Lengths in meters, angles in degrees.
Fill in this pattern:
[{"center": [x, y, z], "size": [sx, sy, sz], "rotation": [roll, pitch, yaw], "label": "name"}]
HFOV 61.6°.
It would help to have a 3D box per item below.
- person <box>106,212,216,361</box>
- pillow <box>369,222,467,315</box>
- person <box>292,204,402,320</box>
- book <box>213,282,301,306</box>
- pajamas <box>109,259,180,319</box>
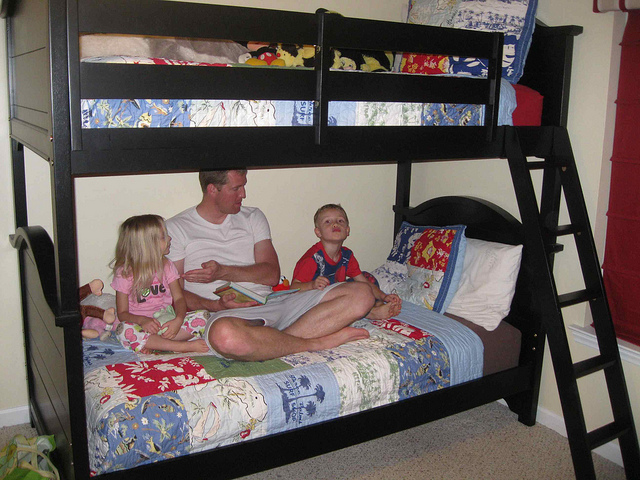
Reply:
[{"center": [-0.875, 0.235, 2.879], "size": [0.623, 0.728, 0.465], "rotation": [5, 9, 37], "label": "person"}, {"center": [0.694, 0.176, 3.533], "size": [0.167, 0.581, 0.585], "rotation": [24, -3, -29], "label": "pillow"}, {"center": [0.123, 0.143, 3.492], "size": [0.753, 0.740, 0.537], "rotation": [-1, 3, 36], "label": "person"}, {"center": [-0.416, 0.299, 3.078], "size": [0.186, 0.086, 0.241], "rotation": [-26, -29, 30], "label": "book"}, {"center": [-1.005, 0.233, 3.050], "size": [0.303, 0.302, 0.307], "rotation": [-4, 14, -38], "label": "pajamas"}]
